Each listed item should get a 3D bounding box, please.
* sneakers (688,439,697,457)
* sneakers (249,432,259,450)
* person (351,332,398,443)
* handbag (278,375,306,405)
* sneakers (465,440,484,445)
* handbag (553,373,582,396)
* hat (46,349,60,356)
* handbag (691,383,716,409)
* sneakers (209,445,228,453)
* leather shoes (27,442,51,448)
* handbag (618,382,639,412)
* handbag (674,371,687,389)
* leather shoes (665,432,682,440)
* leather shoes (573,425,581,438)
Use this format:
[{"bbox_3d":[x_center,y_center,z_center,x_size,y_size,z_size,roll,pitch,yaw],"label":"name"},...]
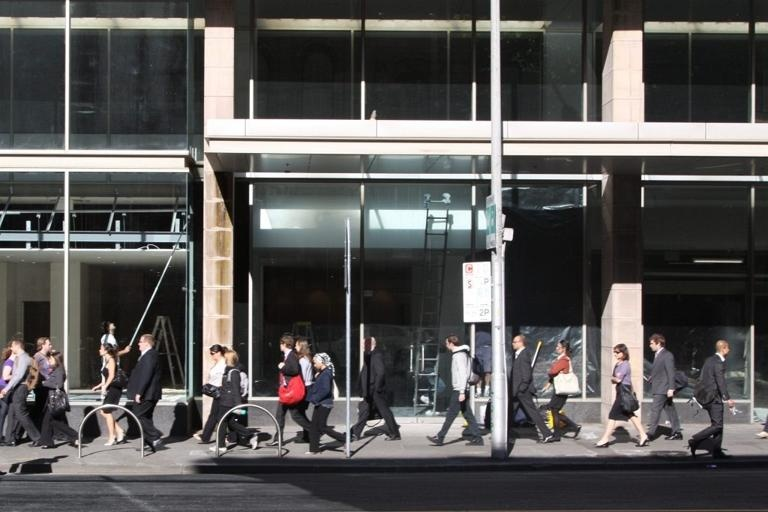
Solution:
[{"bbox_3d":[6.943,4.351,31.792,0.187,0.425,0.136,-13,8,8],"label":"sneakers"},{"bbox_3d":[-2.993,4.306,32.673,0.164,0.439,0.183,3,9,-20],"label":"sneakers"},{"bbox_3d":[-0.276,3.157,33.393,0.774,2.427,1.153,-8,-9,42],"label":"person"},{"bbox_3d":[-2.099,3.090,32.323,0.757,0.781,0.459,5,-8,-33],"label":"handbag"},{"bbox_3d":[2.121,4.409,33.179,0.405,0.147,0.132,3,-3,20],"label":"sneakers"},{"bbox_3d":[4.323,3.061,33.557,0.762,0.842,0.318,0,-14,-4],"label":"handbag"},{"bbox_3d":[-7.747,2.289,33.101,0.213,0.150,0.208,-9,-12,43],"label":"hat"},{"bbox_3d":[7.306,3.179,32.004,0.432,0.507,0.205,10,-1,32],"label":"handbag"},{"bbox_3d":[-3.800,4.472,32.409,0.492,0.183,0.168,7,-5,0],"label":"sneakers"},{"bbox_3d":[-7.996,4.421,32.711,0.585,0.225,0.185,-8,-12,28],"label":"leather shoes"},{"bbox_3d":[5.650,3.304,32.584,0.449,0.684,0.198,-2,-7,2],"label":"handbag"},{"bbox_3d":[6.990,2.906,33.170,0.328,0.170,0.404,-9,-48,23],"label":"handbag"},{"bbox_3d":[6.879,4.276,33.450,0.438,0.163,0.163,2,16,6],"label":"leather shoes"},{"bbox_3d":[4.651,4.227,33.838,0.149,0.342,0.111,17,5,-13],"label":"leather shoes"}]
